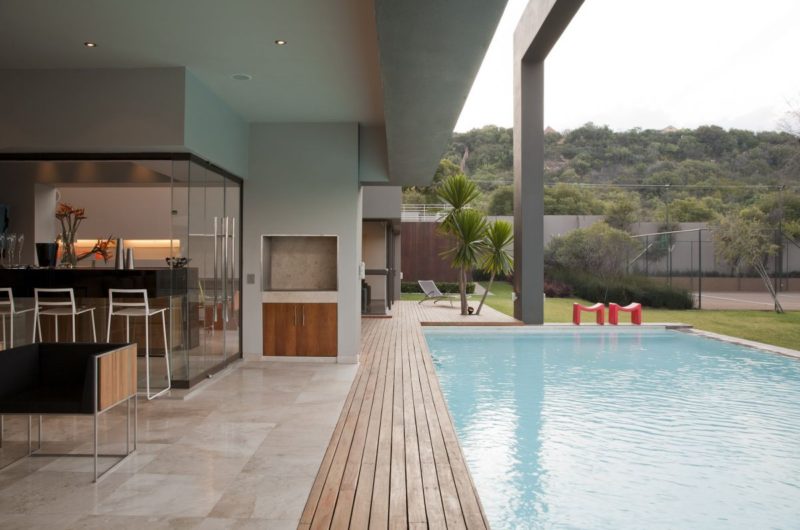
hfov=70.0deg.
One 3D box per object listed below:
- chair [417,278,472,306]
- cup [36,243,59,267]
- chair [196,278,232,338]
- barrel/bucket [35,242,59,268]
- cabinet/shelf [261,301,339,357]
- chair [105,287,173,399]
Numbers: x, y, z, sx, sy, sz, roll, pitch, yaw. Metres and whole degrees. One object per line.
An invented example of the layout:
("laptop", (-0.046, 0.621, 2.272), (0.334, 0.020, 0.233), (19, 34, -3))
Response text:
("chair", (1.108, 0.881, 18.086), (1.221, 0.573, 0.763), (2, -2, 28))
("cup", (-5.114, -0.148, 8.217), (0.319, 0.338, 0.326), (1, 0, 0))
("chair", (-2.893, 0.653, 8.717), (0.547, 1.021, 1.046), (-1, -3, 0))
("barrel/bucket", (-5.101, -0.157, 8.201), (0.317, 0.340, 0.327), (1, 0, 0))
("cabinet/shelf", (-1.609, 1.054, 9.862), (1.373, 1.022, 0.751), (-1, 2, 8))
("chair", (-3.656, 1.056, 7.933), (0.900, 1.517, 0.885), (-1, 5, -34))
